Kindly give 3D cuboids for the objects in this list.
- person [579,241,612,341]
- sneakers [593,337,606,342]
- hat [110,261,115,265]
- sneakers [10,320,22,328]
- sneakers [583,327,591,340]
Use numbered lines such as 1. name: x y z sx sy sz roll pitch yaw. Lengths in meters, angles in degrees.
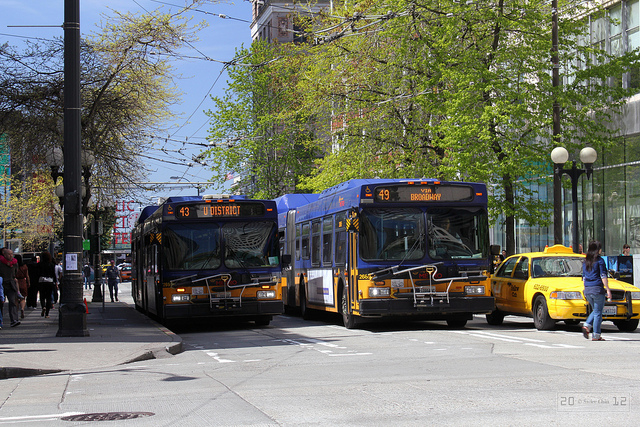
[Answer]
1. person: 6.923 1.909 21.027 0.698 2.424 0.799 -3 -4 16
2. sneakers: 6.937 3.070 20.800 0.343 0.125 0.112 2 4 -26
3. hat: -10.575 2.440 42.663 0.191 0.188 0.656 -2 -5 -9
4. sneakers: -9.347 3.330 25.687 0.154 0.173 0.465 4 -9 -31
5. sneakers: 6.691 2.980 21.011 0.119 0.333 0.147 -2 7 41
